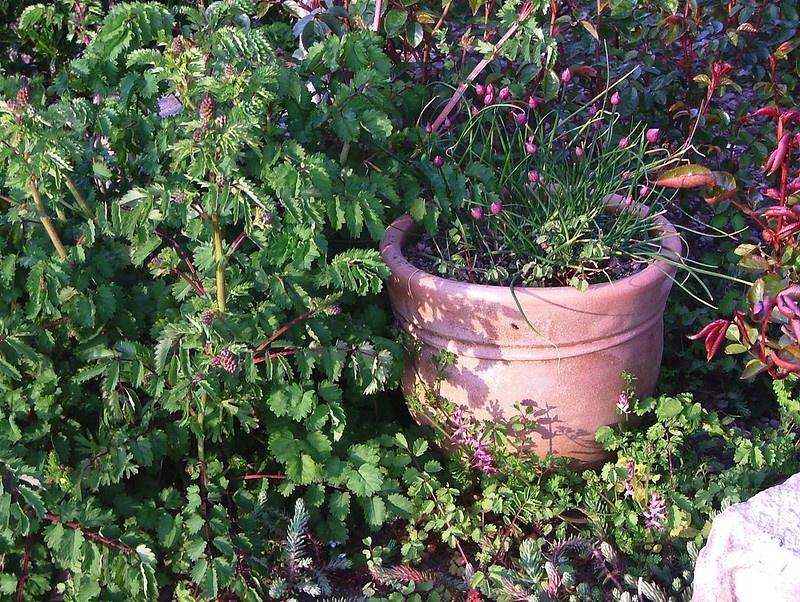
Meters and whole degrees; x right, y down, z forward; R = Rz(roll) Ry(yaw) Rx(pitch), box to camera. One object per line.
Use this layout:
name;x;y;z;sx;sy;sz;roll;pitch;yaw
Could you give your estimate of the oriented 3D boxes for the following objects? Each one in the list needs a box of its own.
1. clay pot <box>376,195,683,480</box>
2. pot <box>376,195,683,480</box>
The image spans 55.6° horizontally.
clay pot;0.461;0.108;2.834;0.884;0.797;0.957;-4;20;1
pot;0.462;0.085;2.841;0.884;0.797;0.957;-4;20;1
